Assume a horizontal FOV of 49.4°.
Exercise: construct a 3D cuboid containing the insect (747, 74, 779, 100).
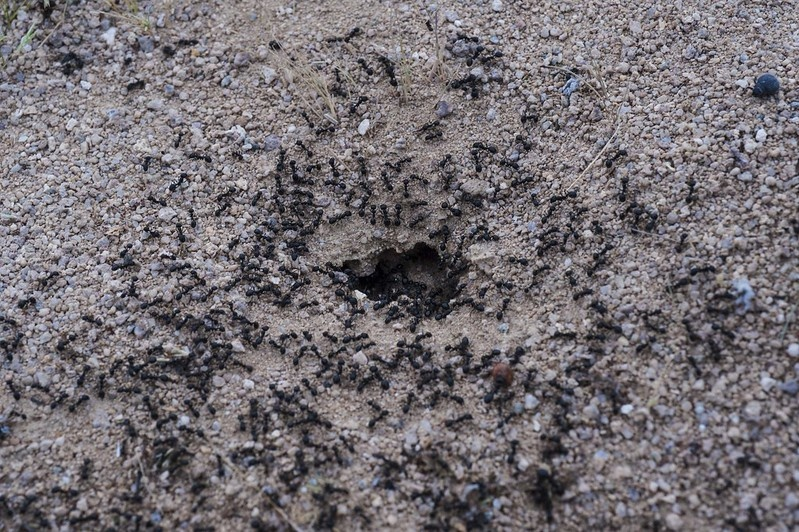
[{"bbox_3d":[4.634,-2.254,11.049,0.329,0.158,0.279,-40,83,13],"label":"insect"}]
